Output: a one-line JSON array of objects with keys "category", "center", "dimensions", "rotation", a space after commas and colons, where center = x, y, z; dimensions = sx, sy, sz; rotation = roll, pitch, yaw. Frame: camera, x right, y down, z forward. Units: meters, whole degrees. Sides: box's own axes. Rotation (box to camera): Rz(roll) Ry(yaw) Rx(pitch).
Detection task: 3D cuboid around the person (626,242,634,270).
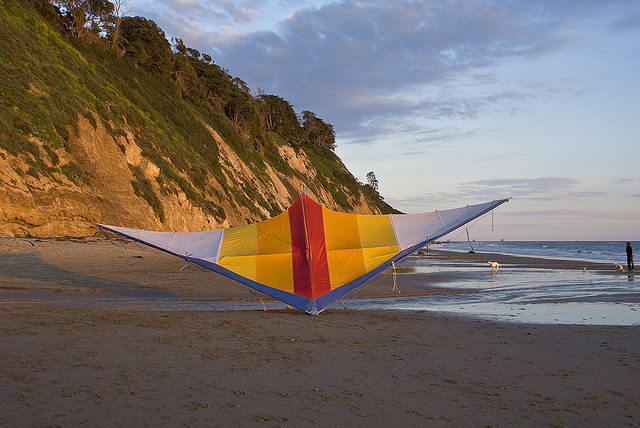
[{"category": "person", "center": [16.264, 2.206, 26.099], "dimensions": [0.362, 1.567, 1.308], "rotation": [9, 7, 31]}]
